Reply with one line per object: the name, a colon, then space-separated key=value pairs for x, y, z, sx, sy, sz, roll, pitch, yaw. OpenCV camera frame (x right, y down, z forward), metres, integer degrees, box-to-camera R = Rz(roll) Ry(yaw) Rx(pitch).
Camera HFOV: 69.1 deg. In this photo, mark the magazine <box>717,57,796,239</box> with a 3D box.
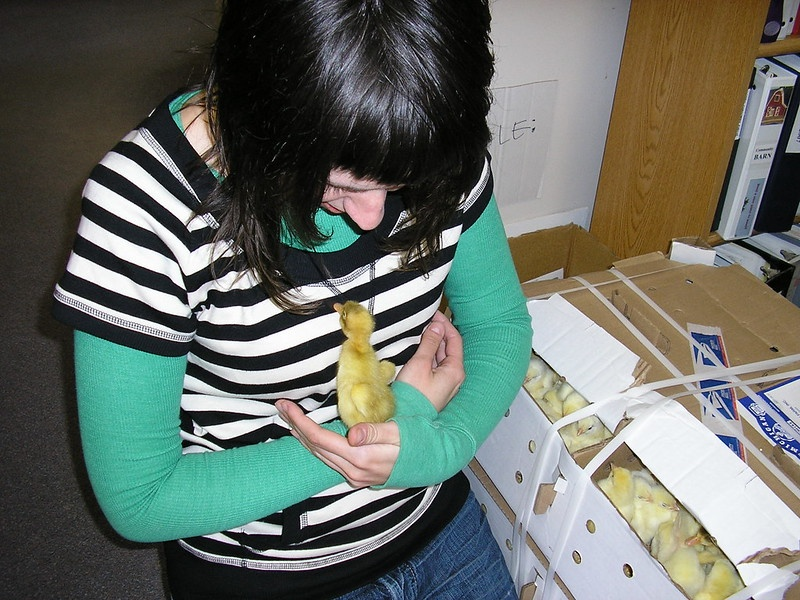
magazine: x=1.170 y=-0.480 z=1.945 sx=0.090 sy=0.426 sz=0.384 roll=17 pitch=28 yaw=22
